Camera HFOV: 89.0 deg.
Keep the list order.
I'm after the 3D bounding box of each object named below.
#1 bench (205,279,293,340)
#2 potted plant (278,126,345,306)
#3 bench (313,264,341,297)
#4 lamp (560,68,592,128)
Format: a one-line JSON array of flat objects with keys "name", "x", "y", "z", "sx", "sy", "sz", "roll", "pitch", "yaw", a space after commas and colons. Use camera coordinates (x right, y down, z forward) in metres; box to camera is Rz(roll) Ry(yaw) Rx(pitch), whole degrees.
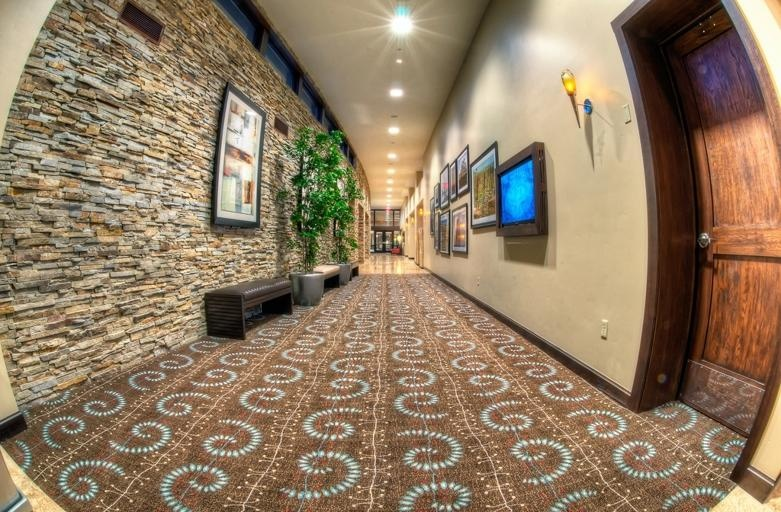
[{"name": "bench", "x": -1.700, "y": 0.568, "z": 4.850, "sx": 0.498, "sy": 0.497, "sz": 1.036, "roll": 2, "pitch": 6, "yaw": 16}, {"name": "potted plant", "x": -1.268, "y": -0.812, "z": 6.688, "sx": 0.880, "sy": 2.796, "sz": 2.040, "roll": 0, "pitch": 13, "yaw": -4}, {"name": "bench", "x": -1.266, "y": 0.422, "z": 7.771, "sx": 0.430, "sy": 0.443, "sz": 0.694, "roll": 1, "pitch": 5, "yaw": 4}, {"name": "lamp", "x": 1.642, "y": -1.410, "z": 3.591, "sx": 0.196, "sy": 0.495, "sz": 0.386, "roll": -1, "pitch": 13, "yaw": -7}]
